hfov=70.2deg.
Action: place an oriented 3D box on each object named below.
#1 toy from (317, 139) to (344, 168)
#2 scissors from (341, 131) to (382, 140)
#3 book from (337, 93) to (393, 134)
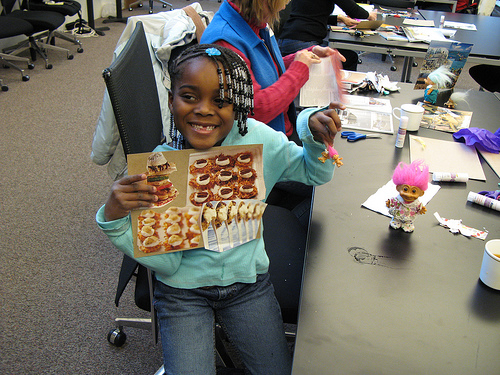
[{"bbox_3d":[0.267,-0.114,1.130,0.077,0.076,0.028,6,8,18],"label":"toy"},{"bbox_3d":[0.543,-0.251,1.731,0.143,0.024,0.074,1,20,-12],"label":"scissors"},{"bbox_3d":[0.645,-0.397,1.923,0.335,0.026,0.372,5,40,3],"label":"book"}]
